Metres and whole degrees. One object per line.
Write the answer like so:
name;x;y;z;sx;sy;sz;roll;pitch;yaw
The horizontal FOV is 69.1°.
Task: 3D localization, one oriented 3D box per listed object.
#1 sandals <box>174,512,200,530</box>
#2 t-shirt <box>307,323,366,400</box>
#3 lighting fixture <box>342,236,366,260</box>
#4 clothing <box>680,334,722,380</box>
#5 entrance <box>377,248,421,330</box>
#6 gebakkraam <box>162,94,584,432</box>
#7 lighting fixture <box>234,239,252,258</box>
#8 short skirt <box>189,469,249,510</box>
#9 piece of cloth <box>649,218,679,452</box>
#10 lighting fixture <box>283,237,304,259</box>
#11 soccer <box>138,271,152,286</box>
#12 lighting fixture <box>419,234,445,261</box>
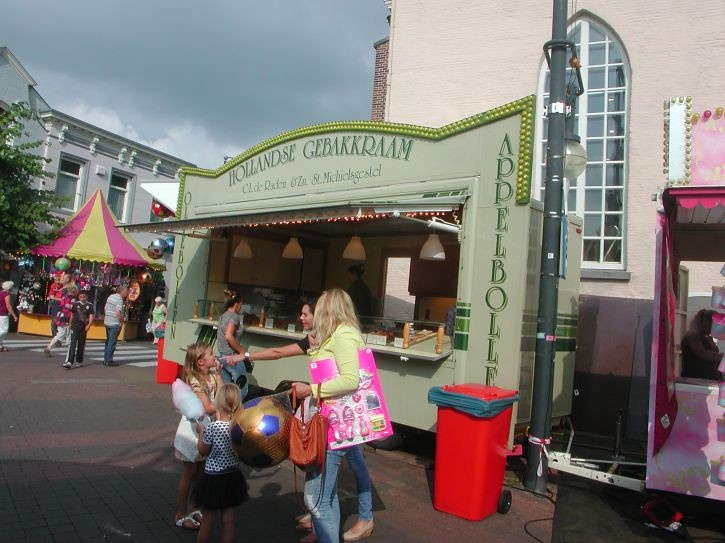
sandals;-1.753;2.513;5.329;0.202;0.074;0.140;-1;-4;37
t-shirt;-0.241;0.803;5.080;0.504;0.809;0.831;1;-5;13
lighting fixture;-0.147;-0.428;10.651;0.480;0.425;0.488;4;6;-12
clothing;4.643;1.162;7.380;0.590;0.694;0.617;4;-7;-40
entrance;0.903;0.498;14.768;1.128;1.919;1.160;2;4;-21
gebakkraam;0.189;0.028;8.466;6.839;4.359;3.593;0;-6;42
lighting fixture;-2.633;-0.459;11.645;0.393;0.377;0.400;7;0;23
short skirt;-1.266;1.974;4.746;0.493;0.341;0.339;-1;4;-13
piece of cloth;3.540;0.731;6.148;0.294;2.869;0.569;3;-3;29
lighting fixture;-1.543;-0.487;11.762;0.457;0.395;0.464;4;6;11
soccer;-8.077;0.259;19.637;0.460;0.425;0.767;1;-1;-14
lighting fixture;1.181;-0.375;9.040;0.464;0.515;0.475;2;-5;3
